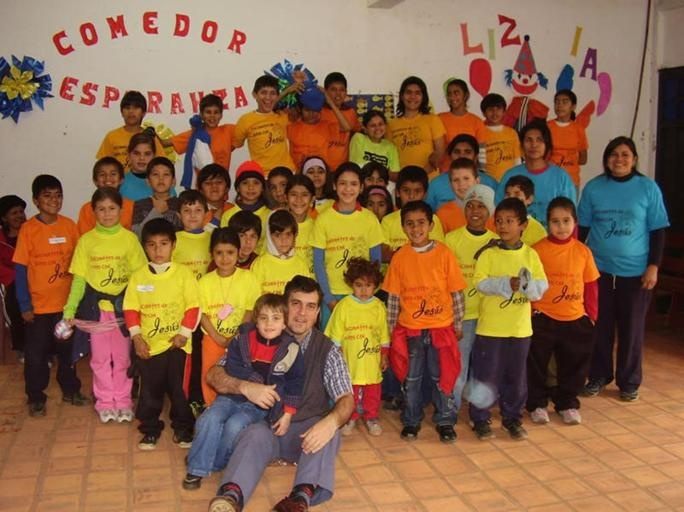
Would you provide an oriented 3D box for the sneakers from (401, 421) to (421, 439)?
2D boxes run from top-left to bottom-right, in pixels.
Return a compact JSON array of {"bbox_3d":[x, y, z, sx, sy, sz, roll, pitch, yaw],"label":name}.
[{"bbox_3d":[0.436,1.113,3.717,0.133,0.071,0.119,0,13,-2],"label":"sneakers"}]

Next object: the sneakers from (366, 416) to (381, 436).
[{"bbox_3d":[0.209,1.094,3.775,0.105,0.076,0.141,-1,13,-6],"label":"sneakers"}]

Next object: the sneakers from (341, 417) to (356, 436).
[{"bbox_3d":[0.039,1.102,3.745,0.049,0.064,0.148,-3,-12,14],"label":"sneakers"}]

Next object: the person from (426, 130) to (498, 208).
[{"bbox_3d":[0.975,-0.638,4.595,0.701,0.376,0.691,-2,-21,10],"label":"person"}]

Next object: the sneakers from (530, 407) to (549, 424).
[{"bbox_3d":[1.322,1.074,3.893,0.057,0.064,0.149,0,-9,6],"label":"sneakers"}]

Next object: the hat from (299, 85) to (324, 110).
[{"bbox_3d":[-0.262,-1.349,5.011,0.219,0.214,0.149,-1,13,-4],"label":"hat"}]

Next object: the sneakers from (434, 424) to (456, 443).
[{"bbox_3d":[0.654,1.116,3.660,0.058,0.063,0.147,-1,-4,-11],"label":"sneakers"}]

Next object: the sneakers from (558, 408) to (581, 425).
[{"bbox_3d":[1.524,1.064,3.908,0.114,0.076,0.131,1,13,0],"label":"sneakers"}]

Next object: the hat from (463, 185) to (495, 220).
[{"bbox_3d":[0.928,-0.363,3.891,0.190,0.194,0.211,7,1,44],"label":"hat"}]

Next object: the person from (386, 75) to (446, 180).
[{"bbox_3d":[0.609,-1.096,5.075,0.478,0.902,0.462,3,27,13],"label":"person"}]

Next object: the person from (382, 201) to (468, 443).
[{"bbox_3d":[0.507,0.403,3.710,0.516,1.456,0.439,3,13,10],"label":"person"}]

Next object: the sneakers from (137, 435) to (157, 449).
[{"bbox_3d":[-1.188,1.129,3.566,0.113,0.061,0.136,-2,13,-11],"label":"sneakers"}]

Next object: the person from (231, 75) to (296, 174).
[{"bbox_3d":[-0.668,-1.115,4.989,0.500,0.818,0.343,-2,13,-12],"label":"person"}]

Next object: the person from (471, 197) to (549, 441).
[{"bbox_3d":[1.045,0.391,3.708,0.441,1.482,0.449,3,13,12],"label":"person"}]

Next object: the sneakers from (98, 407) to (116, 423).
[{"bbox_3d":[-1.546,1.038,3.842,0.067,0.047,0.110,-3,17,-26],"label":"sneakers"}]

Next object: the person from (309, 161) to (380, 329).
[{"bbox_3d":[0.029,0.152,4.070,0.573,1.556,0.431,0,9,-4],"label":"person"}]

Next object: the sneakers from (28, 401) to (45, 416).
[{"bbox_3d":[-2.046,1.023,3.908,0.064,0.070,0.160,2,-4,-30],"label":"sneakers"}]

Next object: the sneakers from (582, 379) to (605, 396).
[{"bbox_3d":[1.898,0.989,4.356,0.238,0.107,0.085,8,-6,-40],"label":"sneakers"}]

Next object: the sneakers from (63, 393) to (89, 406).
[{"bbox_3d":[-1.877,0.995,4.100,0.181,0.078,0.080,2,4,14],"label":"sneakers"}]
